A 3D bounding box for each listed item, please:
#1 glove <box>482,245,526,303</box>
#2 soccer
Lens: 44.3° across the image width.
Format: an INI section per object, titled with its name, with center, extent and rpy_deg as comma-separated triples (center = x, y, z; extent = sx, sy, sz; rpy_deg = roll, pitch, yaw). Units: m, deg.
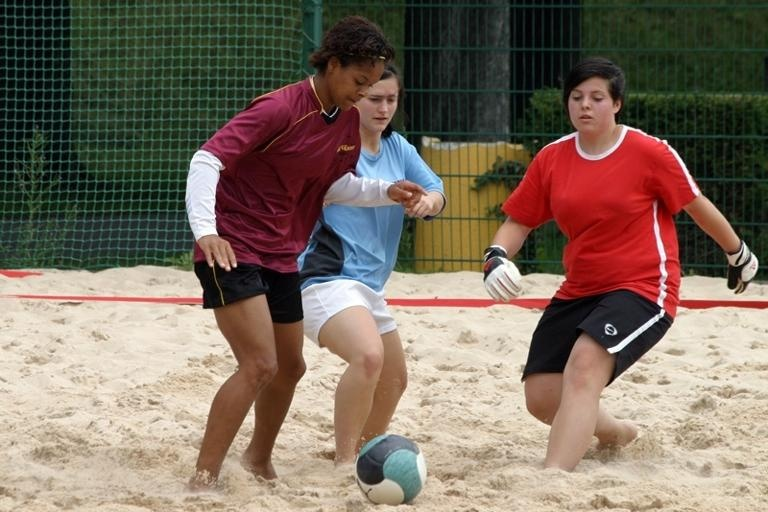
[glove]
center = 0.849, 0.149, 6.610
extent = 0.157, 0.386, 0.279
rpy_deg = -23, 6, -15
[soccer]
center = 0.059, 1.404, 6.152
extent = 0.355, 0.444, 0.420
rpy_deg = -2, 32, 13
